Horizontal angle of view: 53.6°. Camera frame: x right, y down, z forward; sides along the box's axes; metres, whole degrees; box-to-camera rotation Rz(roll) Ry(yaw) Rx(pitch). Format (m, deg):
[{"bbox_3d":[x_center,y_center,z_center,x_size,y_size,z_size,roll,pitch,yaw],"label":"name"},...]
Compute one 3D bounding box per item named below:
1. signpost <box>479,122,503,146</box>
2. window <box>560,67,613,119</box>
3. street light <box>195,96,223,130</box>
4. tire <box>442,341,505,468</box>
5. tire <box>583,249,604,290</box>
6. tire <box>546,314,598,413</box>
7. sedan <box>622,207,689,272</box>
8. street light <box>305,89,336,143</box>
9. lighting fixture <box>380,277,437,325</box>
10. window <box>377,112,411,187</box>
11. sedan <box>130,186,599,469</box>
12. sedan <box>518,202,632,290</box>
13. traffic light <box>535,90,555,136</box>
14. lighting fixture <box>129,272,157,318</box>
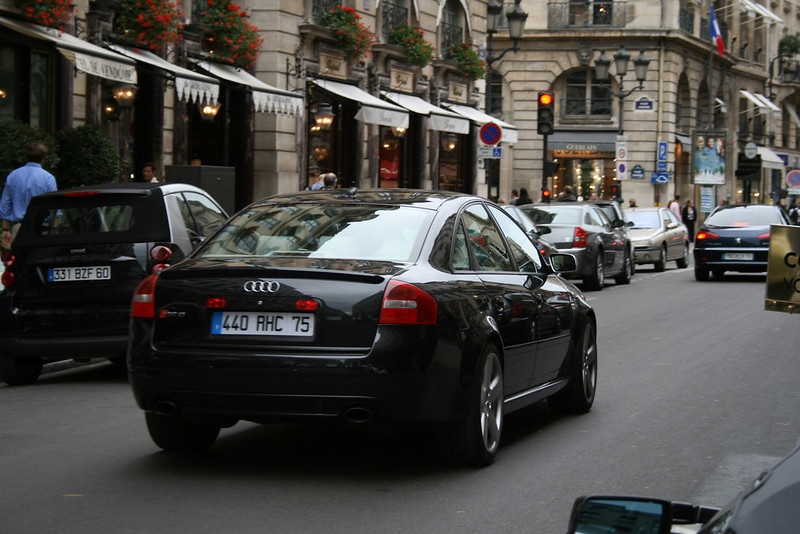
[{"bbox_3d":[2.730,-3.959,23.352,0.559,0.658,0.642,-2,6,-19],"label":"signpost"},{"bbox_3d":[12.129,-11.176,50.745,3.531,3.857,0.283,3,45,15],"label":"window"},{"bbox_3d":[-5.600,-4.543,23.297,1.163,0.644,1.168,5,17,3],"label":"street light"},{"bbox_3d":[0.539,1.000,5.786,0.323,0.969,0.972,-1,-3,17],"label":"tire"},{"bbox_3d":[4.906,0.036,19.992,0.322,0.990,0.993,0,5,23],"label":"tire"},{"bbox_3d":[1.536,0.875,7.110,0.257,0.801,0.805,0,15,26],"label":"tire"},{"bbox_3d":[8.961,-1.081,29.256,2.608,2.191,6.081,2,4,32],"label":"sedan"},{"bbox_3d":[-2.596,-5.203,26.978,1.012,2.210,1.181,1,-5,-25],"label":"street light"},{"bbox_3d":[0.053,0.240,5.056,0.222,0.176,0.383,1,-9,10],"label":"lighting fixture"},{"bbox_3d":[-0.230,-4.459,31.999,0.589,2.372,2.465,2,6,17],"label":"window"},{"bbox_3d":[-0.045,0.414,5.889,3.449,1.975,1.646,-5,7,-40],"label":"sedan"},{"bbox_3d":[4.680,-0.600,22.253,2.824,2.134,6.595,1,3,25],"label":"sedan"},{"bbox_3d":[4.427,-4.651,23.799,0.431,1.220,0.843,0,5,4],"label":"traffic light"},{"bbox_3d":[-1.736,0.221,5.366,0.182,0.184,0.300,1,5,4],"label":"lighting fixture"}]
